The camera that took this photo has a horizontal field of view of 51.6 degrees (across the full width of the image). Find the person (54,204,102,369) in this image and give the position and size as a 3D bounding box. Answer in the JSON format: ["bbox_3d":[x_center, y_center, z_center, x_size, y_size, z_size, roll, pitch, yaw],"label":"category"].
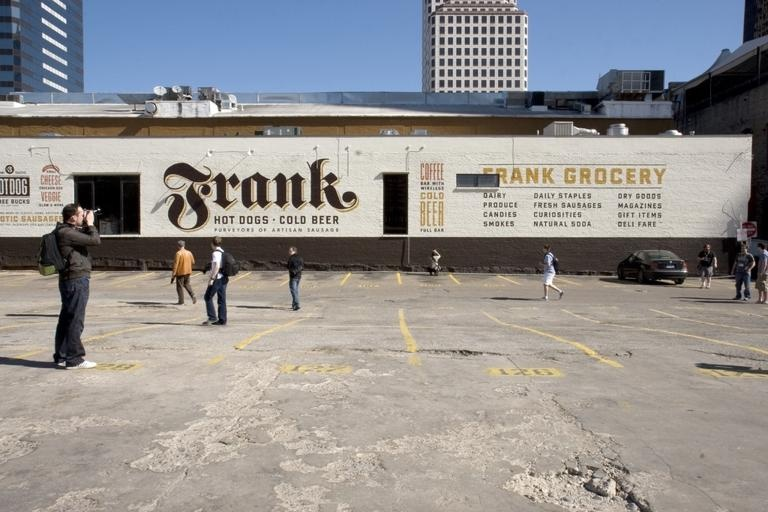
[{"bbox_3d":[-7.634,0.743,19.685,1.140,4.061,0.674,-3,3,-8],"label":"person"}]

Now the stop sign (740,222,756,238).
[{"bbox_3d":[19.012,-1.368,41.071,0.204,0.727,0.777,7,-4,-33],"label":"stop sign"}]

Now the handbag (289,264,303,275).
[{"bbox_3d":[-3.033,0.482,27.710,0.409,0.239,0.306,10,-7,-27],"label":"handbag"}]

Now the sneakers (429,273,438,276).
[{"bbox_3d":[2.565,0.905,40.630,0.478,0.213,0.129,5,9,5],"label":"sneakers"}]

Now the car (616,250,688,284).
[{"bbox_3d":[12.608,0.481,37.714,1.488,0.945,3.156,0,3,2],"label":"car"}]

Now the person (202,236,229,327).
[{"bbox_3d":[-5.213,0.771,24.693,0.711,2.677,1.110,-3,3,-12],"label":"person"}]
